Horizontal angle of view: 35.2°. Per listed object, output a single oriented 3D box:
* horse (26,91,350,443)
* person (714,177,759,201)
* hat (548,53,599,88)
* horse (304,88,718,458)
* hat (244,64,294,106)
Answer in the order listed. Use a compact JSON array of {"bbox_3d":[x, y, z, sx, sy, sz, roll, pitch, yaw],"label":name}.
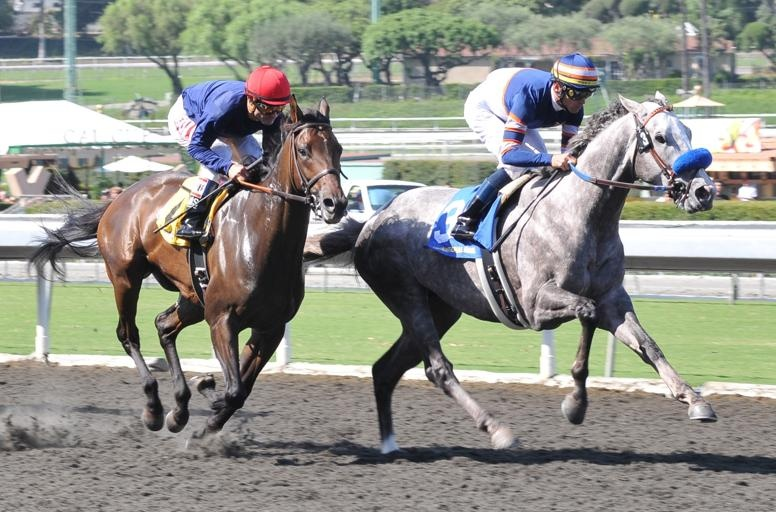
[{"bbox_3d":[-1.429,0.076,9.506,2.466,2.616,1.063,9,18,42],"label":"horse"},{"bbox_3d":[5.461,-1.024,19.090,0.666,0.261,0.954,1,11,14],"label":"person"},{"bbox_3d":[1.410,-1.398,9.131,0.386,0.168,0.241,10,40,9],"label":"hat"},{"bbox_3d":[0.753,0.360,10.079,1.040,2.492,5.235,6,-10,-38],"label":"horse"},{"bbox_3d":[-0.874,-1.248,9.129,0.370,0.187,0.297,34,53,26],"label":"hat"}]
